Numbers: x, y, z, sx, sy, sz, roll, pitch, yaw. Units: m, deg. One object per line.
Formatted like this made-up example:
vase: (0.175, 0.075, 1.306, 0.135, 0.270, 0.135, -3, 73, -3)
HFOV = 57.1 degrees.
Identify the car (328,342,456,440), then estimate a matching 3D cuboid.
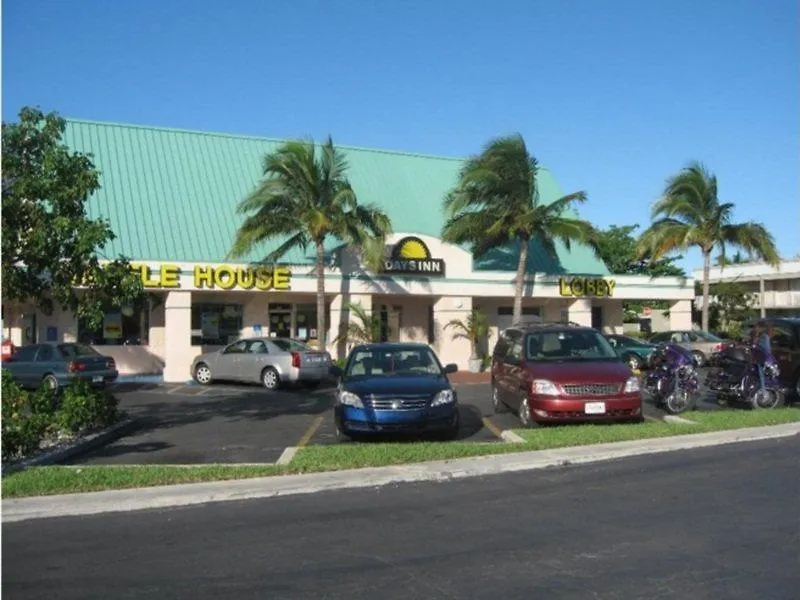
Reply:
car: (-0.194, 1.844, 14.560, 2.316, 1.860, 2.093, -1, -2, -20)

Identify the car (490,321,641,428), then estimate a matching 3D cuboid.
car: (3.218, 1.616, 16.292, 1.688, 1.496, 3.318, 0, -7, -8)

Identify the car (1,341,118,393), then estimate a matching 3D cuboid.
car: (-10.881, 2.118, 23.499, 3.038, 1.514, 1.391, -2, -1, 18)

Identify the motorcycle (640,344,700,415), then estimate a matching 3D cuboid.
motorcycle: (6.480, 1.871, 18.093, 0.912, 1.683, 2.460, 9, 2, -6)
